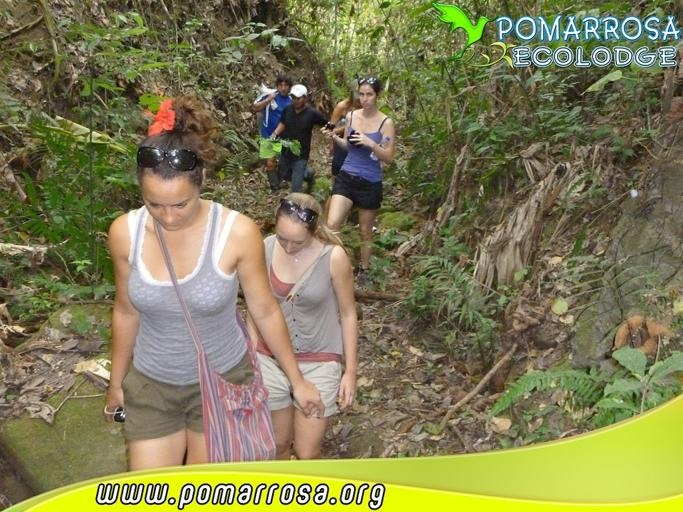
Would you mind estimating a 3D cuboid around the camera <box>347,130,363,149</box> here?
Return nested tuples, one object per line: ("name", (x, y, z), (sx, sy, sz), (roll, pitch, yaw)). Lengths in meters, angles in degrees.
("camera", (0.136, -1.349, 6.518), (0.192, 0.074, 0.169), (38, 60, -19))

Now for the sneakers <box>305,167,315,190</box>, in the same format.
("sneakers", (-0.517, -1.249, 9.191), (0.118, 0.363, 0.160), (-1, 26, -2))

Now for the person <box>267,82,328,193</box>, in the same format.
("person", (-0.651, -1.719, 8.725), (1.000, 1.891, 1.029), (2, 26, -9))

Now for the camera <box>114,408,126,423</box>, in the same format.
("camera", (-1.371, 0.985, 3.421), (0.056, 0.067, 0.155), (2, 0, -15))
